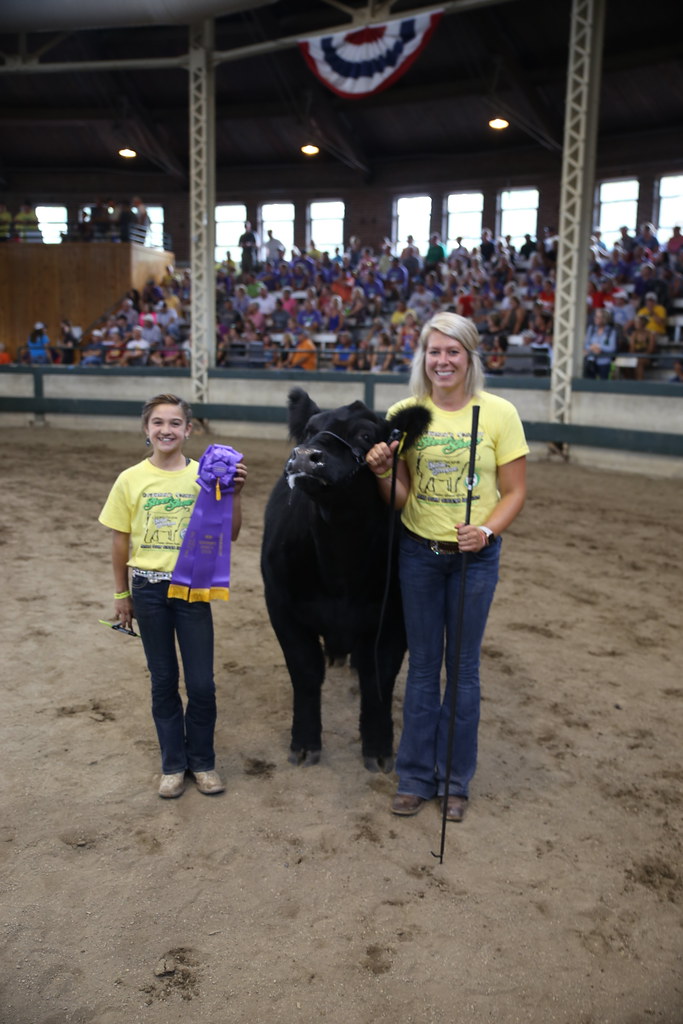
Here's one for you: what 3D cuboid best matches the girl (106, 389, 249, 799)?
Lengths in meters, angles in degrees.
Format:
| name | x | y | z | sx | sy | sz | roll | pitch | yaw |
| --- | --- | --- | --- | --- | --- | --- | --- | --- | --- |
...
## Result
| name | x | y | z | sx | sy | sz | roll | pitch | yaw |
| --- | --- | --- | --- | --- | --- | --- | --- | --- | --- |
| girl | -0.663 | 0.286 | 3.485 | 0.533 | 1.455 | 0.522 | 0 | 1 | -17 |

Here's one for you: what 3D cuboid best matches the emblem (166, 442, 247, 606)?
| name | x | y | z | sx | sy | sz | roll | pitch | yaw |
| --- | --- | --- | --- | --- | --- | --- | --- | --- | --- |
| emblem | -0.457 | 0.047 | 3.268 | 0.201 | 0.563 | 0.272 | 4 | 14 | 13 |

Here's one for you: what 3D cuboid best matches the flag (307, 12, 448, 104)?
| name | x | y | z | sx | sy | sz | roll | pitch | yaw |
| --- | --- | --- | --- | --- | --- | --- | --- | --- | --- |
| flag | 0.347 | -5.026 | 10.552 | 1.650 | 0.733 | 0.149 | 0 | 15 | 26 |

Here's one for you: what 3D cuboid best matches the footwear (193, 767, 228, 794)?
| name | x | y | z | sx | sy | sz | roll | pitch | yaw |
| --- | --- | --- | --- | --- | --- | --- | --- | --- | --- |
| footwear | -0.482 | 0.983 | 3.421 | 0.054 | 0.058 | 0.144 | 1 | -11 | -28 |
